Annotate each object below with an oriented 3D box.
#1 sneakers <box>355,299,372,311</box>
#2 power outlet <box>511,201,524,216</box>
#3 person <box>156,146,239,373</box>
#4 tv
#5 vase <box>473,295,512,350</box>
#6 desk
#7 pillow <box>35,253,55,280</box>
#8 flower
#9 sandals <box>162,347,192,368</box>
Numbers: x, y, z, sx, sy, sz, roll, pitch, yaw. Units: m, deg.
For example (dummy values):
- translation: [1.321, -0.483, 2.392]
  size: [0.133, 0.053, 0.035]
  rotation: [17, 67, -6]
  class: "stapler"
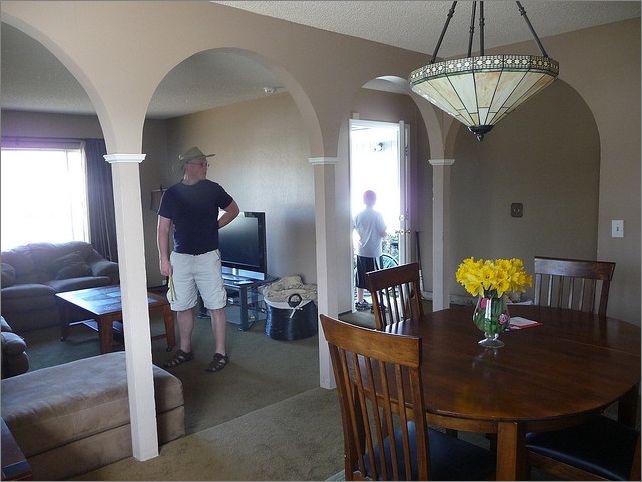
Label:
- translation: [0.553, 0.821, 6.361]
  size: [0.212, 0.103, 0.100]
  rotation: [-5, 6, -40]
  class: "sneakers"
- translation: [2.300, -0.382, 5.804]
  size: [0.174, 0.179, 0.043]
  rotation: [2, 2, 22]
  class: "power outlet"
- translation: [-1.129, 0.167, 4.535]
  size: [0.717, 2.030, 0.479]
  rotation: [-4, 10, -10]
  class: "person"
- translation: [-0.911, 0.057, 5.853]
  size: [0.269, 1.073, 0.740]
  rotation: [-3, -4, -42]
  class: "tv"
- translation: [1.006, 0.443, 2.891]
  size: [0.188, 0.326, 0.193]
  rotation: [1, 10, 2]
  class: "vase"
- translation: [-0.872, 0.748, 6.041]
  size: [0.593, 0.523, 0.981]
  rotation: [-3, 3, -42]
  class: "desk"
- translation: [-3.670, 0.359, 6.636]
  size: [0.273, 0.278, 0.098]
  rotation: [-5, -16, -6]
  class: "pillow"
- translation: [1.023, 0.330, 3.006]
  size: [0.449, 0.492, 0.456]
  rotation: [3, 5, 43]
  class: "flower"
- translation: [-1.341, 1.113, 4.746]
  size: [0.109, 0.136, 0.315]
  rotation: [-1, -1, 39]
  class: "sandals"
